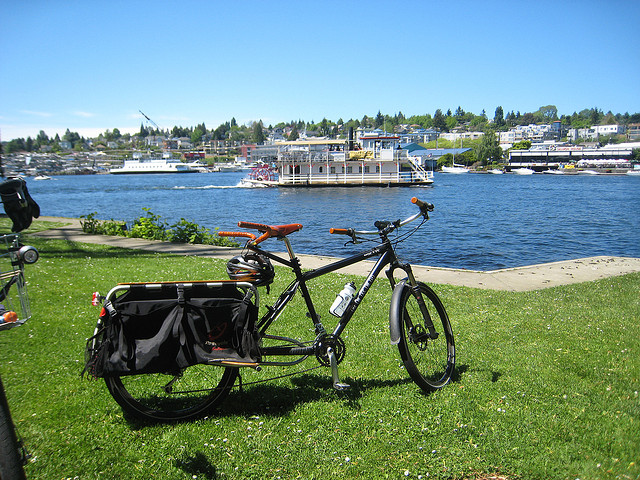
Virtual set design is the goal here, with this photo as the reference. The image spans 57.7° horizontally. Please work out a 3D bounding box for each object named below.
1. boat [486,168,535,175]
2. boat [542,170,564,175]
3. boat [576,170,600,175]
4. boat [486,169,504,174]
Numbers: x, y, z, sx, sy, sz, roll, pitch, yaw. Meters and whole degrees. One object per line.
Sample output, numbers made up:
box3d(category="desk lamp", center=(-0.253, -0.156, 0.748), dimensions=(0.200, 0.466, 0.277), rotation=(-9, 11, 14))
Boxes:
box3d(category="boat", center=(49.790, -18.162, 151.464), dimensions=(9.877, 1.857, 2.279), rotation=(0, 6, 11))
box3d(category="boat", center=(58.449, -17.442, 147.189), dimensions=(1.476, 1.334, 4.772), rotation=(-4, 8, -27))
box3d(category="boat", center=(67.220, -17.312, 146.643), dimensions=(3.073, 0.715, 4.888), rotation=(-13, 16, -41))
box3d(category="boat", center=(46.303, -18.378, 153.392), dimensions=(1.251, 0.858, 4.478), rotation=(-7, 13, -20))
